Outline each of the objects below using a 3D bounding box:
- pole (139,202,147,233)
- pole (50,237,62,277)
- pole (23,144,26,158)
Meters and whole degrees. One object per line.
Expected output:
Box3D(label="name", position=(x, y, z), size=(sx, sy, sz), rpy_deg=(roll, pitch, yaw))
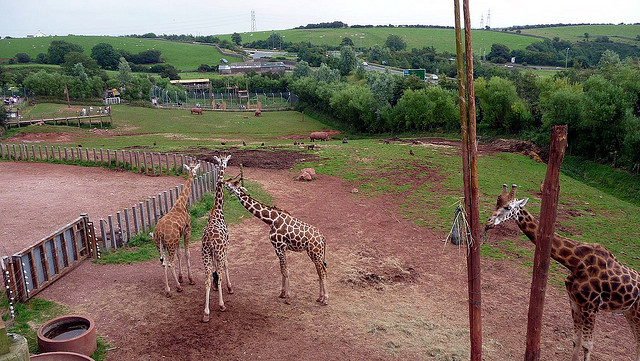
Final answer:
Box3D(label="pole", position=(-14.695, 3.071, 45.571), size=(0.428, 2.569, 0.622), rpy_deg=(-6, 15, -20))
Box3D(label="pole", position=(-19.992, 5.772, 41.441), size=(0.423, 2.884, 0.685), rpy_deg=(-8, 16, -27))
Box3D(label="pole", position=(-33.313, -3.262, 61.796), size=(0.215, 1.245, 0.433), rpy_deg=(-10, 17, -32))
